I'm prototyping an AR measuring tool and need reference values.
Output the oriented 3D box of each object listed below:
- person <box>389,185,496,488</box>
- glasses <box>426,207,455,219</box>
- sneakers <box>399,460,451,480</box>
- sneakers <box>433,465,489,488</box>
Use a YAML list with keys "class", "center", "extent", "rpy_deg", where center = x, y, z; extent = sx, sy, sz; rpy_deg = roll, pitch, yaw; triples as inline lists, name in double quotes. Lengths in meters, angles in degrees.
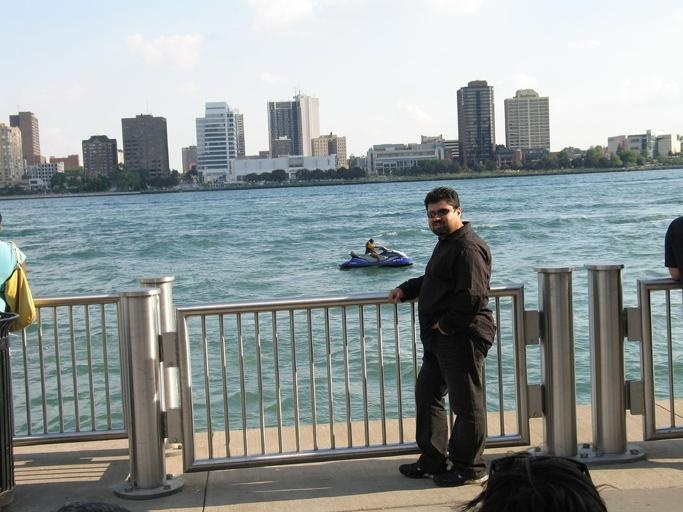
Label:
- class: "person"
  center: [1.122, 0.833, 13.179]
  extent: [0.919, 3.083, 0.438]
  rpy_deg: [-3, 4, 4]
- class: "glasses"
  center: [0.983, -0.445, 13.213]
  extent: [0.289, 0.107, 0.120]
  rpy_deg: [0, 5, 41]
- class: "sneakers"
  center: [0.878, 2.235, 13.419]
  extent: [0.528, 0.212, 0.194]
  rpy_deg: [2, 1, 10]
- class: "sneakers"
  center: [1.229, 2.288, 13.333]
  extent: [0.609, 0.260, 0.225]
  rpy_deg: [-1, 1, -2]
